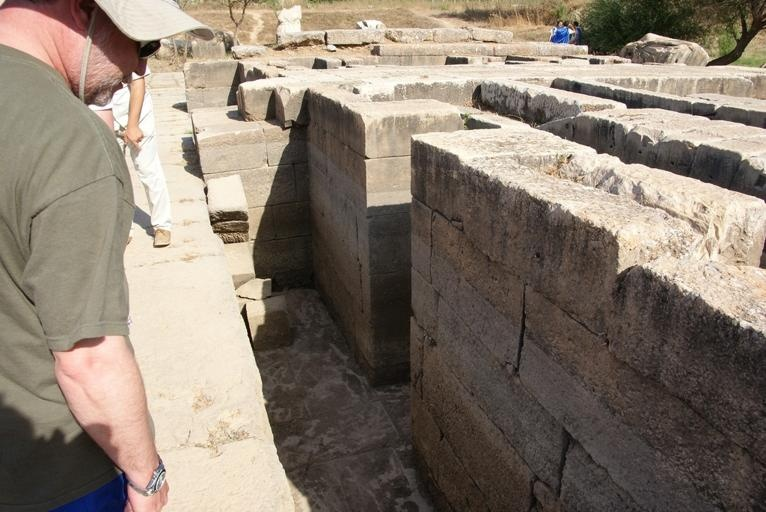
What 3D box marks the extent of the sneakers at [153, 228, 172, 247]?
[{"bbox_3d":[-1.826,-0.153,5.206,0.079,0.094,0.220,-9,22,-13],"label":"sneakers"}]
